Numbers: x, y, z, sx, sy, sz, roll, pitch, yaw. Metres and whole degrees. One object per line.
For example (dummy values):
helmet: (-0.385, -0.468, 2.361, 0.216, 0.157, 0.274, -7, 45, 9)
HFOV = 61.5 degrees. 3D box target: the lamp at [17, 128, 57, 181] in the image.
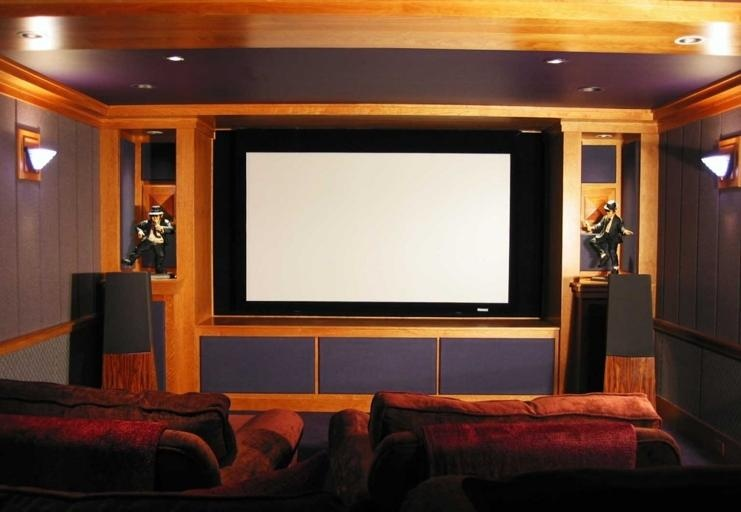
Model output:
lamp: (-2.266, -0.704, 4.231, 0.141, 0.367, 0.217, -1, 1, 6)
